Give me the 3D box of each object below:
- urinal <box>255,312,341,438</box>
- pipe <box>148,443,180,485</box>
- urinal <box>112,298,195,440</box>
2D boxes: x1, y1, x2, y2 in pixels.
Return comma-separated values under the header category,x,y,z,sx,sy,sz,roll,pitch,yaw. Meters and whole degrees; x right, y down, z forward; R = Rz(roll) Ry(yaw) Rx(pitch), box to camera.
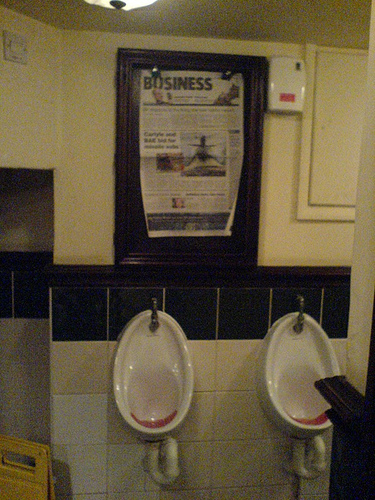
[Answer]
category,x,y,z,sx,sy,sz,roll,pitch,yaw
urinal,0.430,0.510,1.933,0.336,0.499,0.181,-1,-10,-4
pipe,-0.097,0.835,1.854,0.116,0.153,0.145,-3,19,-3
urinal,-0.137,0.446,1.957,0.320,0.552,0.344,-1,-9,-3
